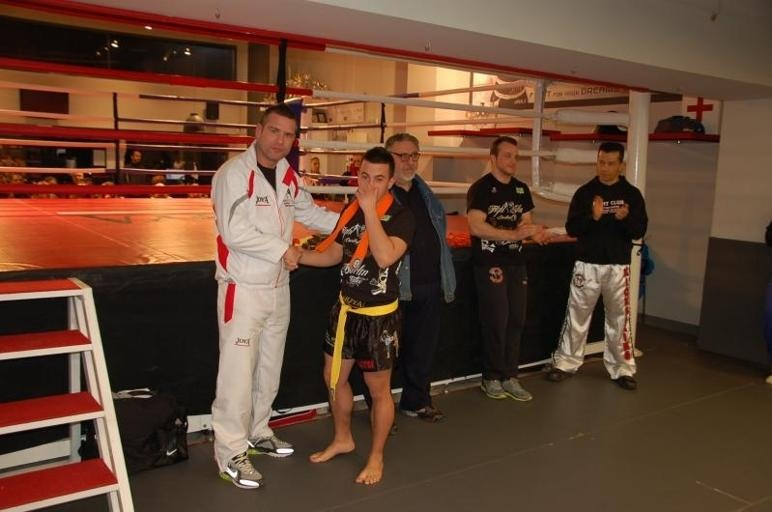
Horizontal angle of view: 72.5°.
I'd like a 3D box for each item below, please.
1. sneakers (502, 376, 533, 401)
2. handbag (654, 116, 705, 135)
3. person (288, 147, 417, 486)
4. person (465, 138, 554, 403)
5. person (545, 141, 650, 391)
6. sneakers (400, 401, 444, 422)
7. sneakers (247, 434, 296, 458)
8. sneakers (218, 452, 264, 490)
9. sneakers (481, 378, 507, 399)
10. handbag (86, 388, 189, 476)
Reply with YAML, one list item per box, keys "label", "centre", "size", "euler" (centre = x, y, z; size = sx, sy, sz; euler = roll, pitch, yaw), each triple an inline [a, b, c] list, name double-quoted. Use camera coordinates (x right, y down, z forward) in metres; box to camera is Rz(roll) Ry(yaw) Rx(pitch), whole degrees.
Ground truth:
- label: "sneakers"
  centre: [1.112, 1.144, 4.562]
  size: [0.130, 0.133, 0.316]
  euler: [-4, 6, -34]
- label: "handbag"
  centre: [3.251, -1.441, 5.892]
  size: [0.302, 0.185, 0.489]
  euler: [-3, 7, -29]
- label: "person"
  centre: [-0.179, 0.366, 3.388]
  size: [0.685, 2.086, 0.382]
  euler: [0, 13, 1]
- label: "person"
  centre: [1.001, 0.109, 4.429]
  size: [0.651, 2.184, 0.540]
  euler: [1, 13, 5]
- label: "person"
  centre: [1.928, 0.082, 4.726]
  size: [0.721, 2.146, 0.534]
  euler: [3, 14, 16]
- label: "sneakers"
  centre: [0.281, 1.222, 4.168]
  size: [0.327, 0.120, 0.129]
  euler: [0, -1, 22]
- label: "sneakers"
  centre: [-0.794, 1.321, 3.634]
  size: [0.339, 0.141, 0.126]
  euler: [3, -3, 2]
- label: "sneakers"
  centre: [-0.934, 1.361, 3.402]
  size: [0.338, 0.153, 0.147]
  euler: [5, 3, 37]
- label: "sneakers"
  centre: [0.926, 1.136, 4.495]
  size: [0.108, 0.092, 0.228]
  euler: [0, 0, -29]
- label: "handbag"
  centre: [-1.621, 1.142, 3.508]
  size: [0.640, 0.247, 0.475]
  euler: [1, 3, -23]
